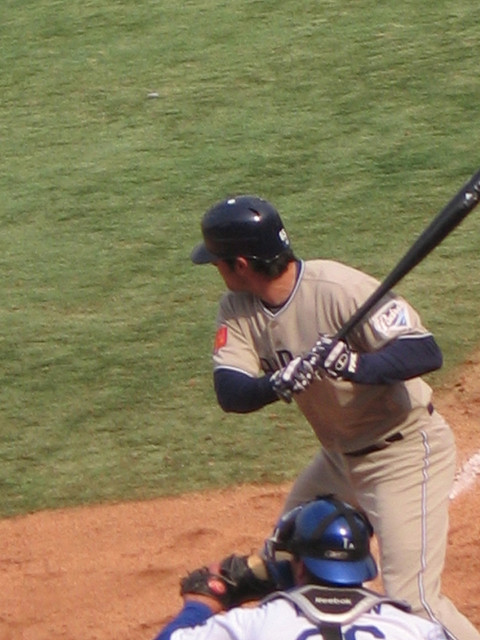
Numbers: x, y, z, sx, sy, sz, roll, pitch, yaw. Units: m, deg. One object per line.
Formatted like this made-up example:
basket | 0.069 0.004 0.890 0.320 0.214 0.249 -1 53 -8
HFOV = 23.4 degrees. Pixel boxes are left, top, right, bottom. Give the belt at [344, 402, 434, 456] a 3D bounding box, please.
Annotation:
belt | 0.776 0.622 6.135 0.379 0.087 0.287 -24 16 25

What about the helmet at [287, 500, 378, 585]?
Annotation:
helmet | 0.444 1.057 5.496 0.343 0.231 0.422 0 28 -40

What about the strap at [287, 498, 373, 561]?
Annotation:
strap | 0.435 1.011 5.524 0.325 0.176 0.249 18 19 32

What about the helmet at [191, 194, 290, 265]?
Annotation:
helmet | -0.011 -0.508 6.280 0.633 0.295 0.401 0 28 24

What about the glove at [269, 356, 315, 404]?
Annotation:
glove | 0.276 0.310 5.989 0.265 0.134 0.194 -29 43 28
